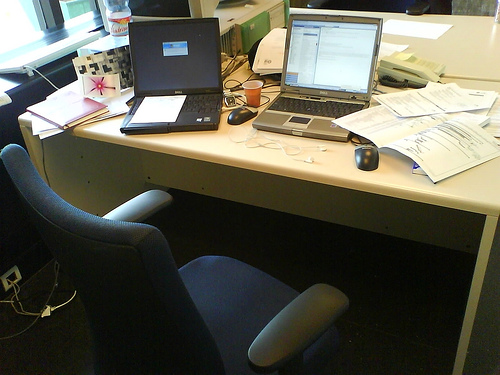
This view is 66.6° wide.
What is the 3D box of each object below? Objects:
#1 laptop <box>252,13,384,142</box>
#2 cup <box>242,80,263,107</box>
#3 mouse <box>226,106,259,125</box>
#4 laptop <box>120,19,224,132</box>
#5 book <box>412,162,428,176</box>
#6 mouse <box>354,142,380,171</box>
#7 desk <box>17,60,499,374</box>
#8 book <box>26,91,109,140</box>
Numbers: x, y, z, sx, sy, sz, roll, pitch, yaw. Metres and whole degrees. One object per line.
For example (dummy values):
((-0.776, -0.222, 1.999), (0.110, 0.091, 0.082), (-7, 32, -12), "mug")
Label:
((0.276, -0.453, 1.524), (0.418, 0.347, 0.421), (12, 38, 18), "laptop")
((0.011, -0.413, 1.705), (0.093, 0.104, 0.095), (0, 37, 0), "cup")
((-0.038, -0.307, 1.581), (0.067, 0.043, 0.116), (25, 46, 28), "mouse")
((-0.326, -0.481, 1.611), (0.407, 0.331, 0.391), (-2, 35, -1), "laptop")
((0.567, -0.064, 1.255), (0.035, 0.009, 0.039), (6, 32, 7), "book")
((0.415, -0.114, 1.344), (0.089, 0.059, 0.165), (2, 22, 17), "mouse")
((0.359, 0.303, 2.261), (1.892, 1.048, 1.515), (25, 52, 21), "desk")
((-0.792, -0.288, 1.703), (0.304, 0.168, 0.216), (19, 40, 25), "book")
